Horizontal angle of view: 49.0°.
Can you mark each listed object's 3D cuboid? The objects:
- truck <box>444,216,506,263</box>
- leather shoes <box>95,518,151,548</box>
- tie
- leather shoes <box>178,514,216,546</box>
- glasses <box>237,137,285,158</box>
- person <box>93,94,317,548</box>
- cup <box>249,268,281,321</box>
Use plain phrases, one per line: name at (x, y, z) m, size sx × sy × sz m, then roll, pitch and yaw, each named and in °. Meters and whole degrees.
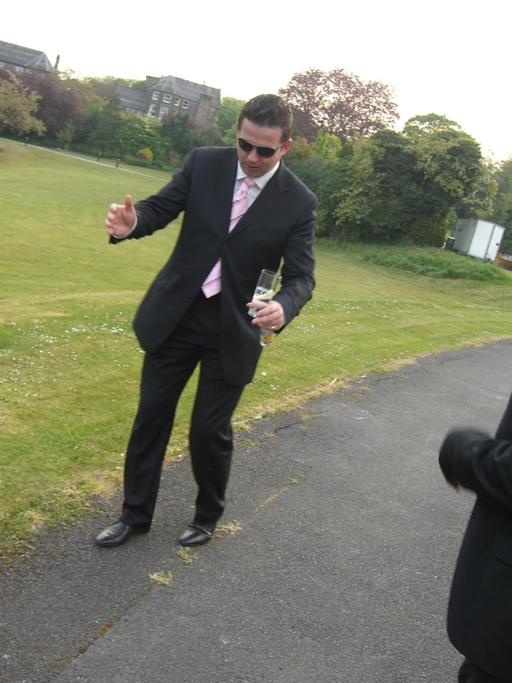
truck at (16.930, -7.910, 43.178) m, size 3.238 × 3.051 × 4.513 m, roll 18°, pitch 12°, yaw -15°
leather shoes at (-0.757, 1.085, 3.193) m, size 0.100 × 0.104 × 0.291 m, roll 1°, pitch -3°, yaw 39°
tie at (-0.157, -0.569, 3.068) m, size 0.128 × 0.689 × 0.194 m, roll 15°, pitch 13°, yaw 4°
leather shoes at (-0.352, 1.140, 3.325) m, size 0.107 × 0.105 × 0.260 m, roll 20°, pitch -12°, yaw 18°
glasses at (0.001, -1.005, 2.934) m, size 0.213 × 0.081 × 0.085 m, roll 9°, pitch 12°, yaw -5°
person at (-0.326, 0.055, 3.177) m, size 1.079 × 2.295 × 0.683 m, roll 12°, pitch 13°, yaw -3°
cup at (0.052, -0.281, 2.848) m, size 0.105 × 0.158 × 0.287 m, roll 12°, pitch 11°, yaw 0°
